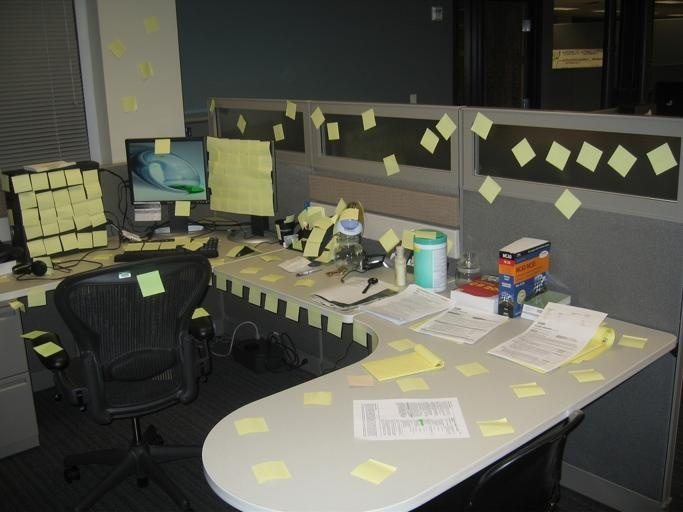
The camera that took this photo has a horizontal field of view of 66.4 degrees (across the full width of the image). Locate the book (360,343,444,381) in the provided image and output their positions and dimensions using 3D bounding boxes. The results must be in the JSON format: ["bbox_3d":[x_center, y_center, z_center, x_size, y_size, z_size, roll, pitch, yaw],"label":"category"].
[{"bbox_3d":[0.212,0.354,1.779,0.221,0.035,0.188,-7,9,-13],"label":"book"}]

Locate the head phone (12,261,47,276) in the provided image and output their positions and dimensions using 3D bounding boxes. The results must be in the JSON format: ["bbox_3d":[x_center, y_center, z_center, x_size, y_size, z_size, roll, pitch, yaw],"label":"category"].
[{"bbox_3d":[-1.547,0.064,2.582,0.130,0.060,0.102,-6,-2,26],"label":"head phone"}]

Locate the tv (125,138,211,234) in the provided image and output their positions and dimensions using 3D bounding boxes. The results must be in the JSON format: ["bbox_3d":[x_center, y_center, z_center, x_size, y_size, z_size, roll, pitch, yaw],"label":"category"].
[{"bbox_3d":[-1.015,-0.424,3.019,0.557,0.699,0.224,-1,29,-6],"label":"tv"}]

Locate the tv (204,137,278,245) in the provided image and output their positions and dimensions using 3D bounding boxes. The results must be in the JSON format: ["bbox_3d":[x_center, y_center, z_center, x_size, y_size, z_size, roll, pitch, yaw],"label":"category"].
[{"bbox_3d":[-0.673,-0.437,3.017,0.300,0.647,0.454,23,15,19],"label":"tv"}]

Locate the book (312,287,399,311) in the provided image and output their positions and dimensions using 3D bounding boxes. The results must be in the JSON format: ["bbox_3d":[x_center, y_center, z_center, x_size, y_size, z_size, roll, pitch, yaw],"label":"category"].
[{"bbox_3d":[0.087,0.185,2.219,0.146,0.022,0.145,-16,23,-35],"label":"book"}]

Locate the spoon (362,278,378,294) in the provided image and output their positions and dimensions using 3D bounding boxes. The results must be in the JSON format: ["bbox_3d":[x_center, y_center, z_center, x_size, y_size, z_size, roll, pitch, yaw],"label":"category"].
[{"bbox_3d":[0.125,0.129,2.330,0.032,0.020,0.120,17,29,16],"label":"spoon"}]

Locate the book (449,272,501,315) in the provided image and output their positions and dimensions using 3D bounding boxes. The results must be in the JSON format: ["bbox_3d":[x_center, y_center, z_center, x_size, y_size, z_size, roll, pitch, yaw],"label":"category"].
[{"bbox_3d":[0.595,0.154,2.192,0.238,0.049,0.246,7,21,20],"label":"book"}]

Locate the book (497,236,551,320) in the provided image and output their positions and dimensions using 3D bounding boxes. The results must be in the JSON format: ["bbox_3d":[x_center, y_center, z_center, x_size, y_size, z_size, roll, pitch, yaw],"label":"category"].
[{"bbox_3d":[0.713,0.094,2.032,0.256,0.245,0.101,-19,26,-32],"label":"book"}]

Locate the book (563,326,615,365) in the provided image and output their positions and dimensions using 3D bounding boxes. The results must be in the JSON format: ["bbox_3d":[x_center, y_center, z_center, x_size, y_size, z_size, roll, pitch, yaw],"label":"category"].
[{"bbox_3d":[0.862,0.288,1.799,0.131,0.040,0.131,-27,21,1],"label":"book"}]
